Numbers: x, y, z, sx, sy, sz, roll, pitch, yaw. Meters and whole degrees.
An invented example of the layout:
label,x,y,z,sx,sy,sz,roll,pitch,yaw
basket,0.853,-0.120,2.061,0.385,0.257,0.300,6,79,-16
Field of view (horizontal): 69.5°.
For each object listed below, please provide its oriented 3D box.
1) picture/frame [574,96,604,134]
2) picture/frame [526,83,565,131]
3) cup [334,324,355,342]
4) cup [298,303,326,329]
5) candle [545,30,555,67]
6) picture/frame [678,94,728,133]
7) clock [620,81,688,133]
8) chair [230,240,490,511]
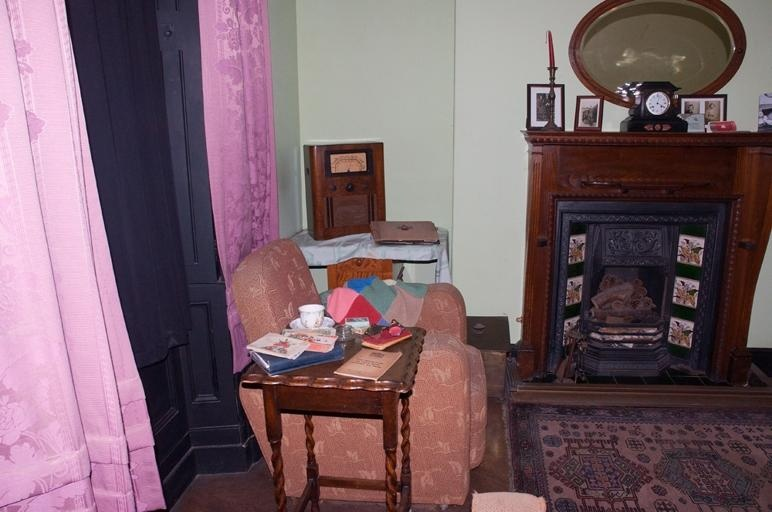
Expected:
label,x,y,z,sx,sy,sz,roll,pitch,yaw
picture/frame,1.364,-0.959,3.735,0.187,0.222,0.134,1,13,9
picture/frame,1.074,-1.025,3.823,0.381,0.304,0.140,-8,15,-27
cup,-0.193,0.358,2.585,0.075,0.044,0.073,0,2,0
cup,-0.354,0.287,2.624,0.104,0.082,0.113,0,-1,0
candle,1.096,-1.373,3.695,0.063,0.273,0.375,2,13,16
picture/frame,2.111,-0.944,3.705,0.328,0.271,0.026,-3,-2,-2
clock,1.784,-0.965,3.690,0.382,0.317,0.203,2,7,14
chair,-0.086,0.519,3.345,1.437,1.414,1.291,-1,18,6
